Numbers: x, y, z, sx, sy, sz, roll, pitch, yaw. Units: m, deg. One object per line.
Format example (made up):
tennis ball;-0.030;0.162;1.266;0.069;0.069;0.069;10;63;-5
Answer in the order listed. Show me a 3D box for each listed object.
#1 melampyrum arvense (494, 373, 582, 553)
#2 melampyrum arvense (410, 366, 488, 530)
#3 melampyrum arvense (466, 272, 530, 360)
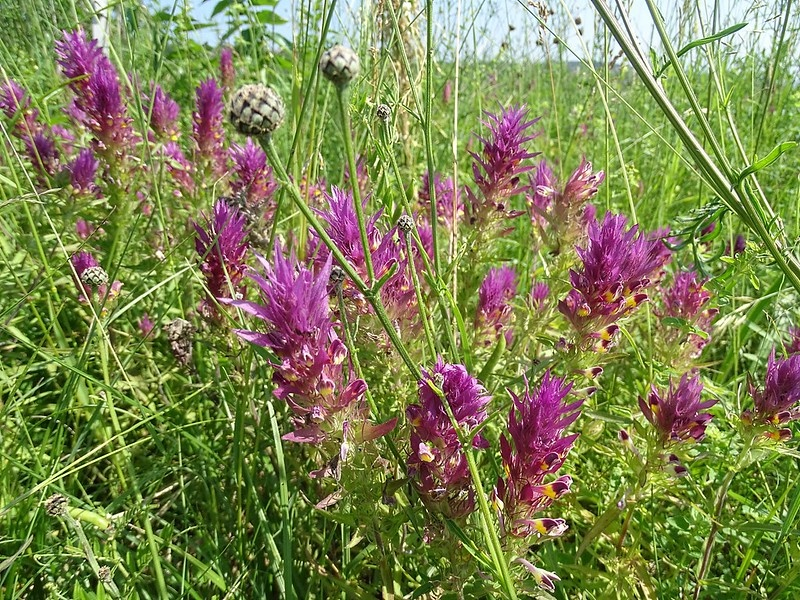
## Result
melampyrum arvense;0.484;0.549;2.528;0.267;0.634;0.217;9;13;10
melampyrum arvense;0.158;0.492;2.520;0.293;0.555;0.190;7;13;0
melampyrum arvense;0.480;0.039;3.554;0.183;0.401;0.320;10;13;12
